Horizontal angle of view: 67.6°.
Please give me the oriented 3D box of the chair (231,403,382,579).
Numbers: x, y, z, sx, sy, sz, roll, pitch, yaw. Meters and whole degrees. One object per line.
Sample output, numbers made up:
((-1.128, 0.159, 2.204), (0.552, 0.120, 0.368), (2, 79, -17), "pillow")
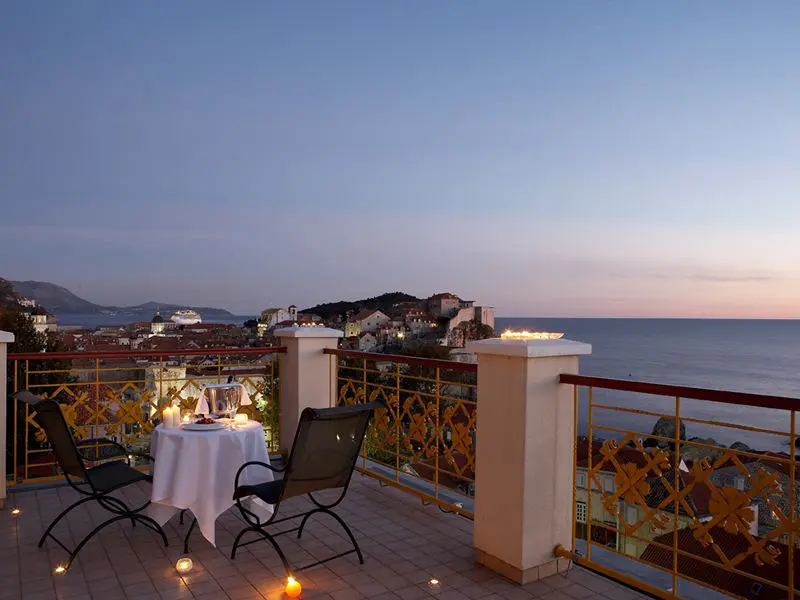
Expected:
((-0.795, 1.464, 4.806), (1.085, 1.193, 1.136), (3, -8, -29), "chair")

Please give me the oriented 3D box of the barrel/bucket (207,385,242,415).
((-1.576, 0.863, 5.319), (0.251, 0.202, 0.266), (0, 4, 0), "barrel/bucket")

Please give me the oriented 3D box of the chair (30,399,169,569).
((-2.724, 1.447, 5.564), (1.480, 1.707, 1.290), (0, 0, -31), "chair")
